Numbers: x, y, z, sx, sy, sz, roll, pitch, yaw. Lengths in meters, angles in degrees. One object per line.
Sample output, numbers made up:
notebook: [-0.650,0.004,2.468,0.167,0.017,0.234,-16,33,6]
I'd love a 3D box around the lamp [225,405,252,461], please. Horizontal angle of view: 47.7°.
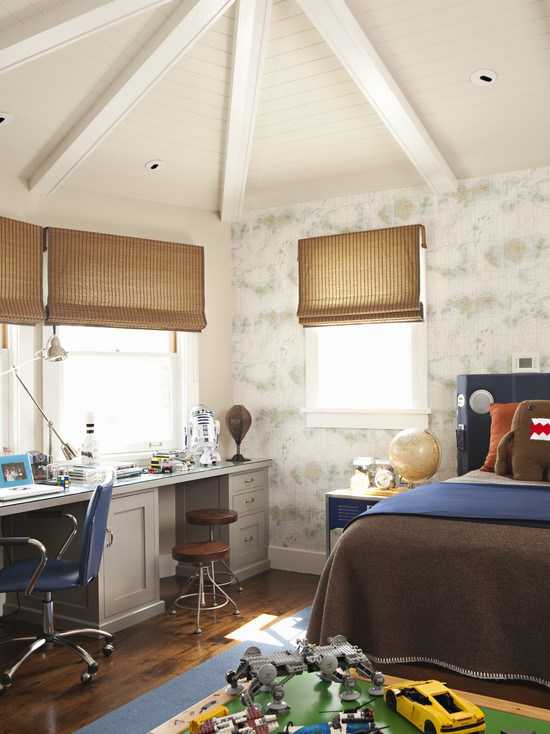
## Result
lamp: [-0.266,0.488,4.646,0.199,0.413,0.474,0,-4,-3]

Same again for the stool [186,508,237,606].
stool: [-0.390,1.177,3.954,0.364,0.524,0.329,0,1,-14]

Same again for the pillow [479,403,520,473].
pillow: [1.282,0.382,3.561,0.254,0.375,0.223,3,4,19]

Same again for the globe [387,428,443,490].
globe: [0.888,0.558,3.947,0.337,0.340,0.336,-1,3,-34]

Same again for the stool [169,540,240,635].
stool: [-0.426,1.233,3.704,0.481,0.545,0.457,1,1,32]

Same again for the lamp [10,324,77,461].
lamp: [-1.388,0.153,3.652,0.387,0.760,0.506,2,-5,-22]
